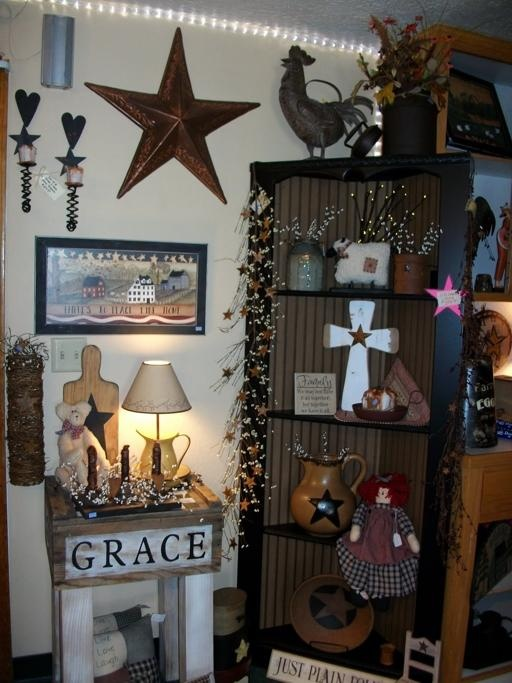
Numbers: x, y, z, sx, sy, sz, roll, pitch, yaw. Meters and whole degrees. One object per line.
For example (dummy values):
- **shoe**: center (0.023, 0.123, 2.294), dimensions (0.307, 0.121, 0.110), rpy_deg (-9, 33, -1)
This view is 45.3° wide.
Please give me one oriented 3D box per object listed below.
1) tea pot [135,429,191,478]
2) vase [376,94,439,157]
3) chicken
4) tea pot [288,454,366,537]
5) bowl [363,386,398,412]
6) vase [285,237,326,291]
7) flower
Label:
- **tea pot**: center (-0.321, 0.385, 2.116), dimensions (0.206, 0.183, 0.136), rpy_deg (2, -1, -10)
- **vase**: center (0.497, -0.681, 2.073), dimensions (0.211, 0.214, 0.205), rpy_deg (0, 0, -22)
- **chicken**: center (0.261, -0.861, 2.257), dimensions (0.375, 0.406, 0.262), rpy_deg (1, 7, -13)
- **tea pot**: center (0.242, 0.565, 2.303), dimensions (0.308, 0.311, 0.262), rpy_deg (2, -5, -2)
- **bowl**: center (0.414, 0.194, 2.094), dimensions (0.086, 0.063, 0.085), rpy_deg (2, 10, 0)
- **vase**: center (0.175, -0.267, 2.185), dimensions (0.179, 0.233, 0.167), rpy_deg (-1, 7, -6)
- **flower**: center (0.551, -0.913, 2.157), dimensions (0.428, 0.302, 0.317), rpy_deg (49, 1, -46)
